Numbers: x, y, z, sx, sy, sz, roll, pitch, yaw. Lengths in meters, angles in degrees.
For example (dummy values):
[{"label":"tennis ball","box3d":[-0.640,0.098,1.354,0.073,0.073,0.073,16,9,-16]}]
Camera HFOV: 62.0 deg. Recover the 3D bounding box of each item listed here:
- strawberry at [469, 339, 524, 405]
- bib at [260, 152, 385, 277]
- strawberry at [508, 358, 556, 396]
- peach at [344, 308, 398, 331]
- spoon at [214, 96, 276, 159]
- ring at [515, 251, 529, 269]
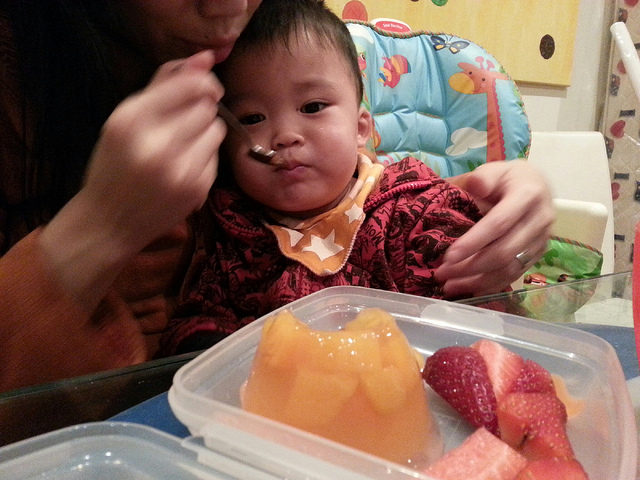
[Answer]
[{"label":"strawberry","box3d":[0.260,0.185,0.771,0.064,0.022,0.068,33,49,-4]},{"label":"bib","box3d":[0.031,-0.072,1.310,0.215,0.158,0.382,22,37,36]},{"label":"strawberry","box3d":[0.293,0.191,0.739,0.051,0.018,0.045,-16,59,-12]},{"label":"peach","box3d":[0.075,0.111,0.764,0.040,0.017,0.040,-26,27,-37]},{"label":"spoon","box3d":[-0.151,-0.237,1.097,0.032,0.194,0.034,-14,41,38]},{"label":"ring","box3d":[0.450,0.043,1.183,0.013,0.035,0.026,-12,37,52]}]
